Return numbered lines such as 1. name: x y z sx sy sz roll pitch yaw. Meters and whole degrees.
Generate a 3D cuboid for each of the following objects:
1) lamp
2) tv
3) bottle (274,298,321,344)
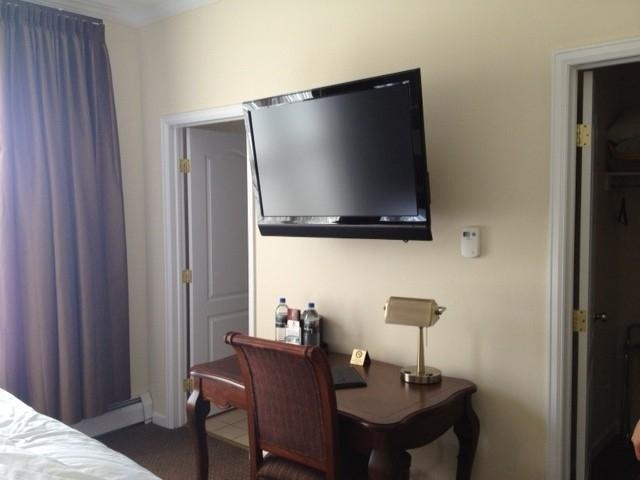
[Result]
1. lamp: 0.512 0.522 2.760 0.386 0.476 0.256 -1 -2 42
2. tv: 0.128 -0.445 2.792 0.953 0.752 0.103 -1 14 38
3. bottle: -0.126 0.484 3.120 0.231 0.245 0.091 -3 -4 31
